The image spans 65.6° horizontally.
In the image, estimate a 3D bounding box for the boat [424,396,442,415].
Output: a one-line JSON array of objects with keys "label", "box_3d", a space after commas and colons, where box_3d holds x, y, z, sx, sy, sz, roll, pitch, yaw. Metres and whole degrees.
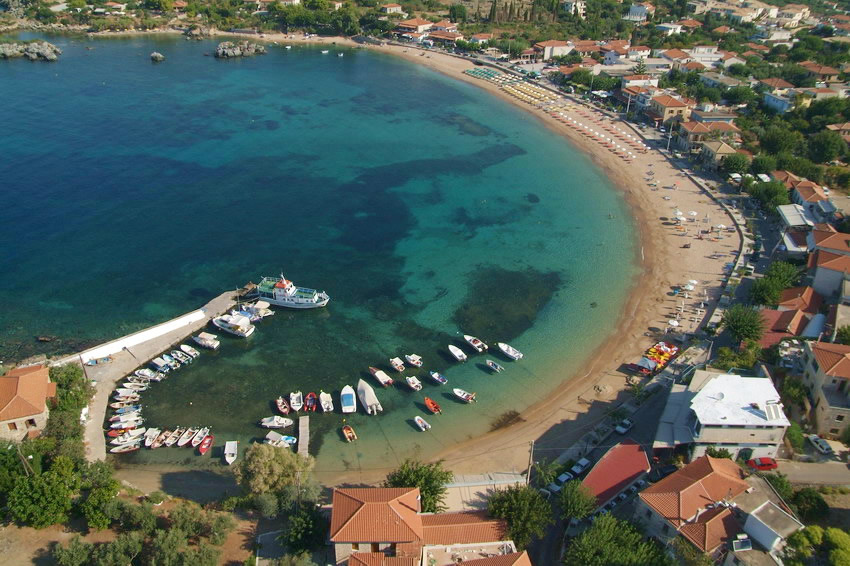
[{"label": "boat", "box_3d": [1.145, 21.051, 112.347, 3.332, 0.964, 1.775, 40, 64, 20]}]

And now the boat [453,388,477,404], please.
[{"label": "boat", "box_3d": [6.513, 19.251, 113.349, 3.826, 1.377, 1.860, 22, 61, 21]}]

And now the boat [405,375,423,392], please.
[{"label": "boat", "box_3d": [-1.951, 17.517, 114.484, 2.661, 0.621, 2.118, 35, 58, 7]}]

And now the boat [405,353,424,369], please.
[{"label": "boat", "box_3d": [-2.016, 14.104, 118.139, 2.539, 0.912, 2.203, 29, 54, -1]}]

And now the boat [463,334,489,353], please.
[{"label": "boat", "box_3d": [9.072, 11.193, 121.532, 4.772, 1.778, 2.127, 32, 67, 21]}]

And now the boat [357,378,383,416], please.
[{"label": "boat", "box_3d": [-9.901, 19.568, 112.453, 2.913, 1.703, 6.640, -17, 50, -17]}]

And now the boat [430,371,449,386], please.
[{"label": "boat", "box_3d": [2.238, 16.651, 115.373, 3.114, 1.032, 1.614, 34, 46, 15]}]

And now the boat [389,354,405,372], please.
[{"label": "boat", "box_3d": [-5.102, 14.619, 117.565, 2.086, 0.907, 2.632, -39, 75, -17]}]

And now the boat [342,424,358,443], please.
[{"label": "boat", "box_3d": [-12.388, 24.618, 107.810, 2.268, 0.836, 3.064, -7, 41, -16]}]

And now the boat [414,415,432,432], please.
[{"label": "boat", "box_3d": [-0.412, 23.322, 109.613, 1.984, 0.986, 3.069, -24, 48, -32]}]

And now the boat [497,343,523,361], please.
[{"label": "boat", "box_3d": [15.191, 12.757, 120.359, 4.712, 1.309, 2.245, 32, 63, 22]}]

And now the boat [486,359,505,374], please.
[{"label": "boat", "box_3d": [12.279, 14.893, 117.938, 3.177, 0.682, 1.873, 28, 44, 25]}]
